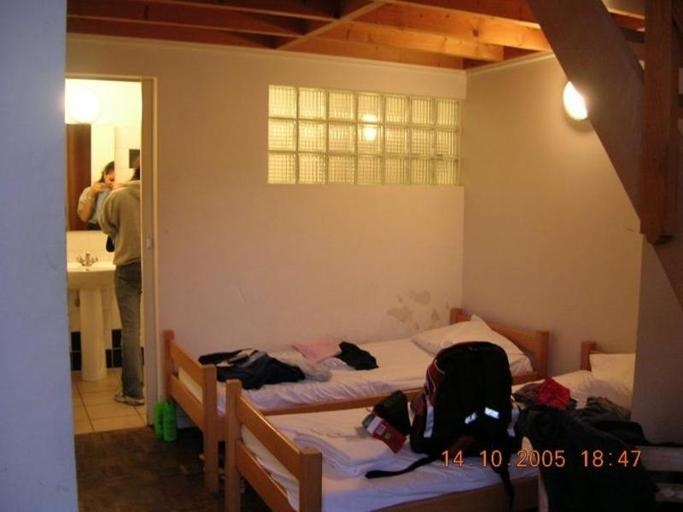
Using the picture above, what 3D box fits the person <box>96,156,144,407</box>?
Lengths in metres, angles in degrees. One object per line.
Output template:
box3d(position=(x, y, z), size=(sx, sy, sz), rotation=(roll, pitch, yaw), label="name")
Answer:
box3d(position=(-1.758, 0.300, 4.632), size=(0.323, 1.833, 0.209), rotation=(-2, 3, -10), label="person")

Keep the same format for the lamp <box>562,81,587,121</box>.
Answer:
box3d(position=(1.607, -1.072, 3.910), size=(0.095, 0.301, 0.317), rotation=(-1, 3, 2), label="lamp")
